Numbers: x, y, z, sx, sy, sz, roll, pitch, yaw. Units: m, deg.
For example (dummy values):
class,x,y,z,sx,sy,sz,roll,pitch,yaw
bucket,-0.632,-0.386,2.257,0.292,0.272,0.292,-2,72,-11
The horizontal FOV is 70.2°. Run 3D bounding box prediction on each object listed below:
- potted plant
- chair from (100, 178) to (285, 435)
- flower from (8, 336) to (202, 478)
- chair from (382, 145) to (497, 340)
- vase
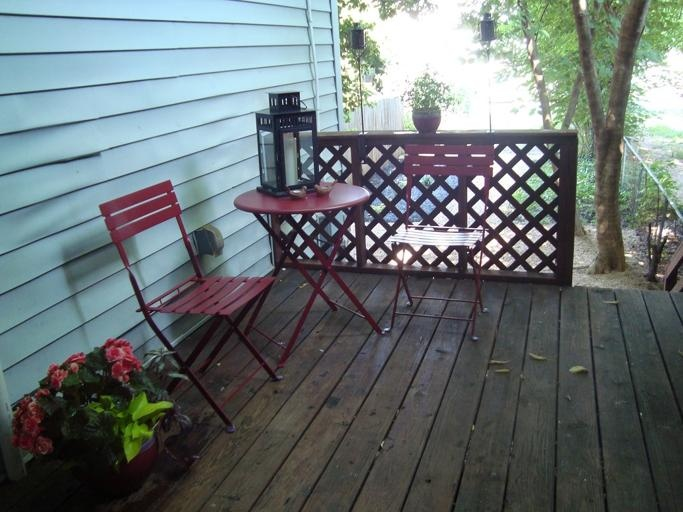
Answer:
class,x,y,z,sx,sy,sz,roll,pitch,yaw
potted plant,0.691,-1.259,3.960,0.462,0.514,0.427,0,6,10
chair,-0.816,0.248,2.805,0.789,1.217,0.714,6,16,21
flower,-1.117,0.735,2.216,0.627,0.402,0.500,-4,-20,-25
chair,0.772,-0.139,3.687,0.706,1.269,0.714,-1,-12,15
vase,-1.038,0.979,2.244,0.271,0.218,0.284,7,13,25
